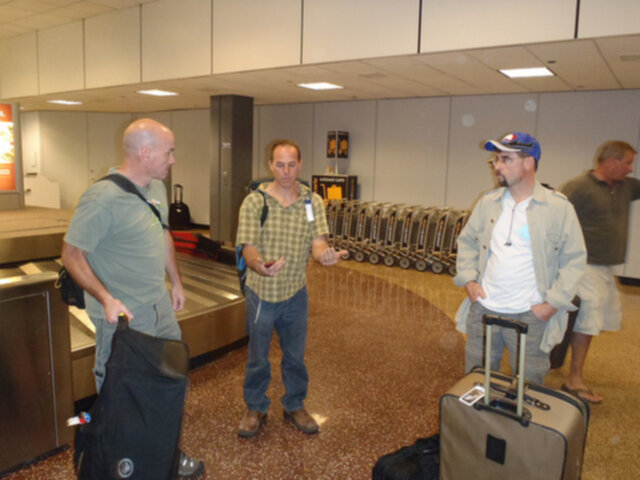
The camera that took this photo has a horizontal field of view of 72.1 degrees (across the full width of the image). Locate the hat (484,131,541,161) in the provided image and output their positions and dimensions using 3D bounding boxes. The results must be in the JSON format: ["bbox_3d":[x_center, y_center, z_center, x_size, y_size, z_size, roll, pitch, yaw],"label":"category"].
[{"bbox_3d":[1.149,-0.547,2.621,0.317,0.169,0.202,10,8,6],"label":"hat"}]

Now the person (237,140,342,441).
[{"bbox_3d":[-0.154,0.359,2.837,0.698,1.899,0.673,0,7,-11],"label":"person"}]

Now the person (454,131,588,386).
[{"bbox_3d":[1.209,0.361,2.788,0.738,1.998,0.474,7,21,31],"label":"person"}]

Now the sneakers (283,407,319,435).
[{"bbox_3d":[-0.118,1.233,3.085,0.269,0.131,0.115,19,20,32],"label":"sneakers"}]

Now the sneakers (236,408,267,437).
[{"bbox_3d":[-0.469,1.230,2.994,0.088,0.109,0.246,10,-3,15],"label":"sneakers"}]

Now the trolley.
[{"bbox_3d":[1.393,-0.095,7.870,2.037,0.998,1.218,7,8,31],"label":"trolley"}]

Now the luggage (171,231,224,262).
[{"bbox_3d":[-1.811,0.057,6.565,0.757,0.244,0.579,14,17,23],"label":"luggage"}]
